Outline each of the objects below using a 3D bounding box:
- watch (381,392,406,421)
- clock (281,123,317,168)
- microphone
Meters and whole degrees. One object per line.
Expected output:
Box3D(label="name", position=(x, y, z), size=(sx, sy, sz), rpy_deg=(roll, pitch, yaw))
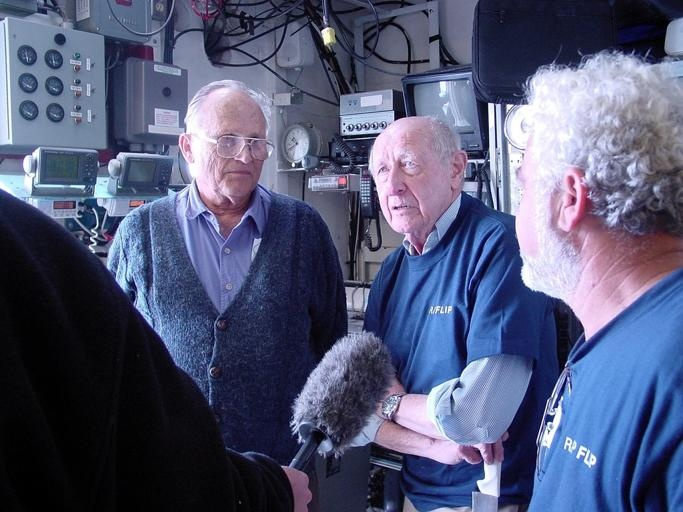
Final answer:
Box3D(label="watch", position=(0.149, 0.439, 1.961), size=(0.025, 0.083, 0.056), rpy_deg=(27, -22, -24))
Box3D(label="clock", position=(-0.286, -0.746, 4.537), size=(0.211, 0.294, 0.149), rpy_deg=(-3, -9, 11))
Box3D(label="microphone", position=(0.006, 0.348, 1.683), size=(0.136, 0.156, 0.451), rpy_deg=(19, 38, 14))
